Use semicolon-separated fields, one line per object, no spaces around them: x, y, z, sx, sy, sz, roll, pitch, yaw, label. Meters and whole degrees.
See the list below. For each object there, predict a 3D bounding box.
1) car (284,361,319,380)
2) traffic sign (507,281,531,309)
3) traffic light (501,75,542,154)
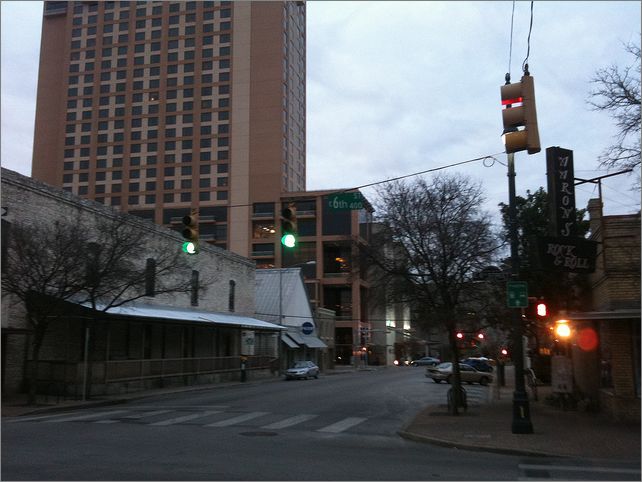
-1.530;9.849;57.821;1.339;0.707;2.531;-6;-15;18;car
6.789;1.820;26.281;0.680;0.969;0.560;-8;-15;13;traffic sign
6.304;-3.961;24.069;1.127;2.470;0.755;-8;-16;11;traffic light
